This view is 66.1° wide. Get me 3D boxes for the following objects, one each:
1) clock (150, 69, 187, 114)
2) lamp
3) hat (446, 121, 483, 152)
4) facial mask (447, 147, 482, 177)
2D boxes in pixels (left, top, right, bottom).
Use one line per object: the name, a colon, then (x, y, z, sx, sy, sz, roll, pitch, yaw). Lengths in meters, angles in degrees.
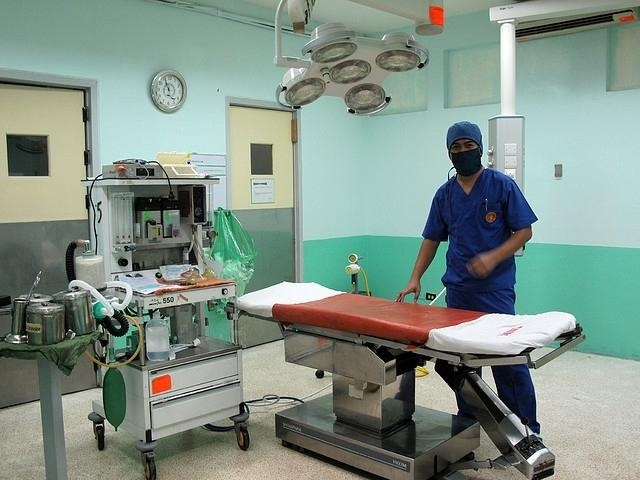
clock: (-1.416, -1.396, 4.577, 0.073, 0.518, 0.456, 5, 6, 39)
lamp: (0.165, -1.063, 2.738, 0.824, 0.613, 0.598, -4, 6, -6)
hat: (0.933, -0.669, 3.204, 0.177, 0.153, 0.200, -4, -2, 17)
facial mask: (0.937, -0.500, 3.127, 0.169, 0.147, 0.175, -2, 10, 15)
